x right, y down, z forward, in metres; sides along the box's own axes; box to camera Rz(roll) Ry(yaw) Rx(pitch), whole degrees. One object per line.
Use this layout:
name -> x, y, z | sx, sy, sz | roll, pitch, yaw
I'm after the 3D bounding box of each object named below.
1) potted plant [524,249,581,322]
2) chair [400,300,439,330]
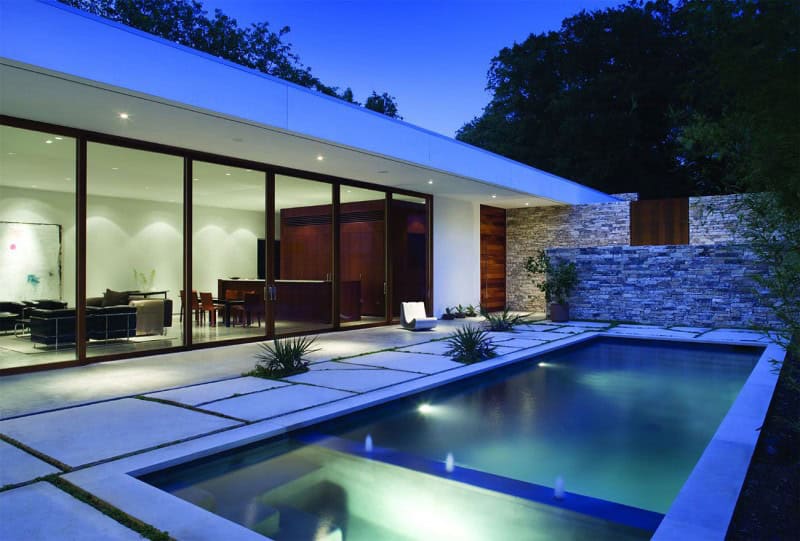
potted plant -> 4.369, 0.403, 14.961 | 1.117, 1.840, 1.000 | 6, 8, 42
chair -> 0.411, 1.053, 12.528 | 0.683, 0.639, 0.701 | 4, -3, -35
